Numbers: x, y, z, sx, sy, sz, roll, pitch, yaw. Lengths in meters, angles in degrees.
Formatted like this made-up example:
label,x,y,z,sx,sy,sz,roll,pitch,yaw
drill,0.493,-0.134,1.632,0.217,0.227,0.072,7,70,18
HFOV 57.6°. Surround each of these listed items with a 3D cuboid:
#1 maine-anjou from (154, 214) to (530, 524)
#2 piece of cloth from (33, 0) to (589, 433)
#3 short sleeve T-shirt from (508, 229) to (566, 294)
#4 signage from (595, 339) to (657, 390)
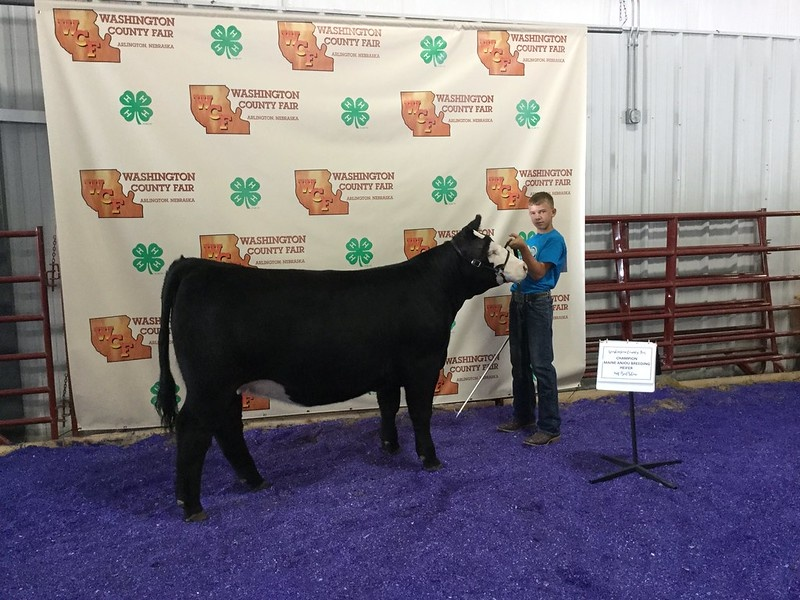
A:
label,x,y,z,sx,sy,sz,roll,pitch,yaw
maine-anjou,-0.307,0.451,5.050,2.520,1.959,0.841,-5,19,-12
piece of cloth,-0.699,-0.642,5.180,2.771,2.356,0.046,-2,4,-13
short sleeve T-shirt,0.947,-0.272,5.123,0.211,0.449,0.398,6,3,-22
signage,1.443,0.424,4.649,0.287,0.327,0.114,3,-2,14
